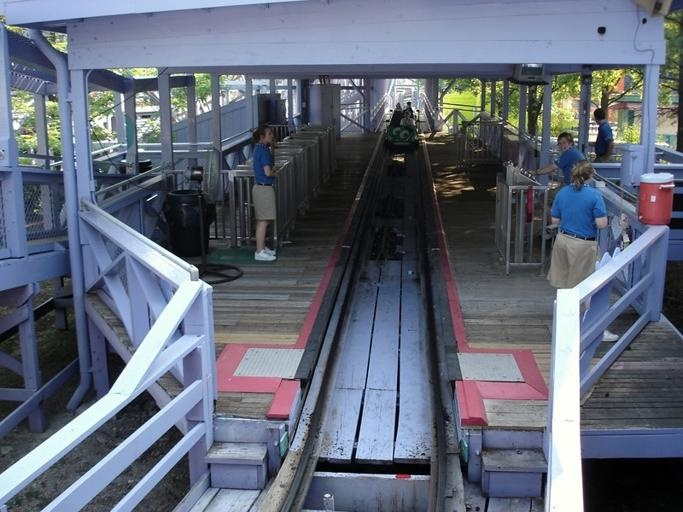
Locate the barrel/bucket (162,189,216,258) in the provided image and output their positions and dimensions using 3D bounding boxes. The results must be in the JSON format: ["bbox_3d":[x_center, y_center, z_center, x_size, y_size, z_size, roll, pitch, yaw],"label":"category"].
[{"bbox_3d":[-3.038,-0.614,11.179,1.261,1.281,1.268,0,16,0],"label":"barrel/bucket"}]

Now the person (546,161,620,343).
[{"bbox_3d":[2.922,-0.341,7.131,0.682,1.634,0.491,8,18,30],"label":"person"}]

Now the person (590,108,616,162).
[{"bbox_3d":[6.081,-2.771,13.365,0.430,1.355,2.170,6,17,24],"label":"person"}]

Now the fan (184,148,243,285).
[{"bbox_3d":[-2.416,-0.731,10.297,1.492,2.195,1.485,5,-3,-11],"label":"fan"}]

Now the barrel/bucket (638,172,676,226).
[{"bbox_3d":[3.810,-0.690,6.980,0.361,0.590,0.396,-1,16,0],"label":"barrel/bucket"}]

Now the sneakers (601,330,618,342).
[{"bbox_3d":[3.400,1.020,7.340,0.120,0.122,0.281,-4,-3,-11],"label":"sneakers"}]

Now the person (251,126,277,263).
[{"bbox_3d":[-1.440,-1.101,10.415,0.434,2.471,0.484,-3,16,-6],"label":"person"}]
